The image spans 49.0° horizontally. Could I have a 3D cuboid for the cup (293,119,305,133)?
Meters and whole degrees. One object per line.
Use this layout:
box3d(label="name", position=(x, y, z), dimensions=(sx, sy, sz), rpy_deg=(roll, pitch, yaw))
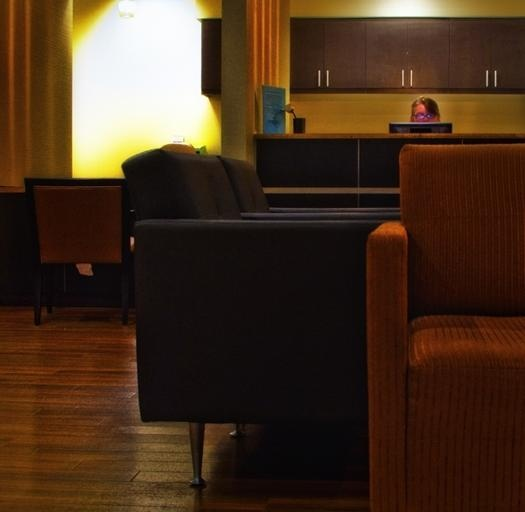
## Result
box3d(label="cup", position=(0.291, -1.021, 4.544), dimensions=(0.099, 0.127, 0.098), rpy_deg=(0, 8, 0))

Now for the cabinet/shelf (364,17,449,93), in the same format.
box3d(label="cabinet/shelf", position=(1.509, -2.089, 5.972), dimensions=(0.644, 0.641, 0.269), rpy_deg=(0, 0, 4))

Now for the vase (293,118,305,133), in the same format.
box3d(label="vase", position=(0.293, -1.026, 4.554), dimensions=(0.105, 0.140, 0.115), rpy_deg=(3, 9, 18))

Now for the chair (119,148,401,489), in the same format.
box3d(label="chair", position=(0.073, 0.106, 1.977), dimensions=(0.617, 0.897, 1.183), rpy_deg=(-1, 6, 8))

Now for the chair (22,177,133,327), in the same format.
box3d(label="chair", position=(-1.185, -0.051, 3.752), dimensions=(0.643, 0.914, 0.555), rpy_deg=(-1, 4, -11))

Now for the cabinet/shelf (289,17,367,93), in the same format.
box3d(label="cabinet/shelf", position=(0.690, -2.132, 6.032), dimensions=(0.626, 0.693, 0.265), rpy_deg=(0, 0, 5))
